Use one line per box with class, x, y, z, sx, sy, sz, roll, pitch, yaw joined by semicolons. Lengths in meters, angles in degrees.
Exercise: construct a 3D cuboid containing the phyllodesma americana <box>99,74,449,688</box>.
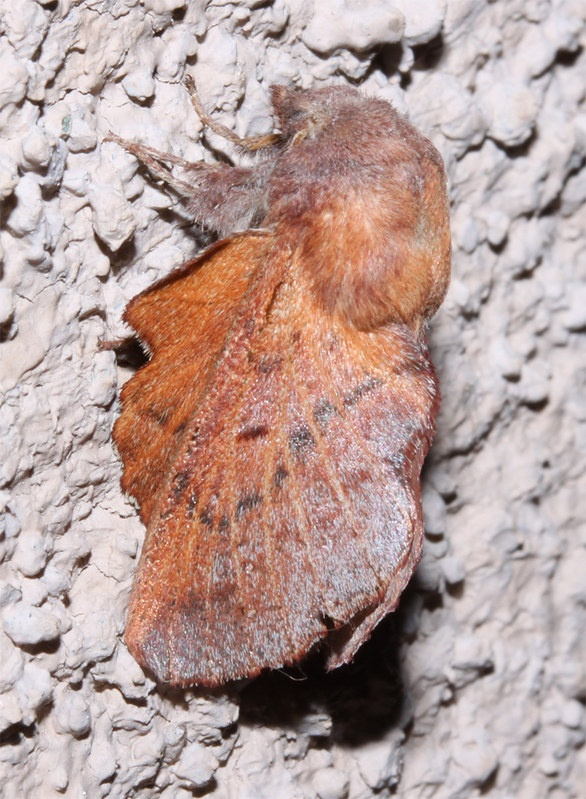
phyllodesma americana;-0.053;-0.017;1.809;0.663;0.645;1.010;3;60;11
